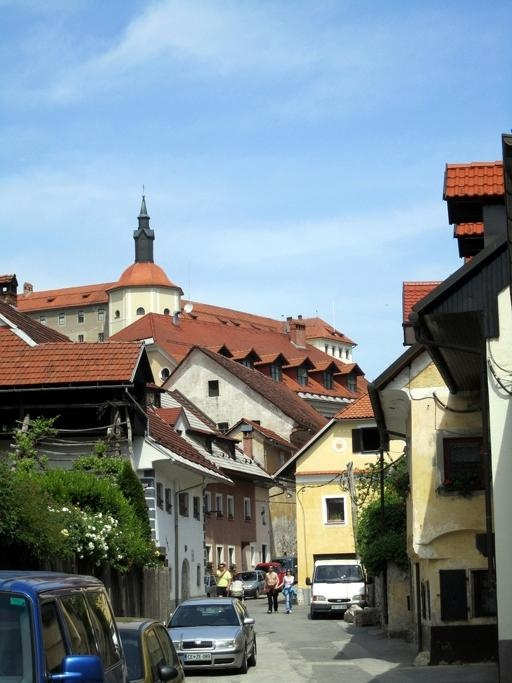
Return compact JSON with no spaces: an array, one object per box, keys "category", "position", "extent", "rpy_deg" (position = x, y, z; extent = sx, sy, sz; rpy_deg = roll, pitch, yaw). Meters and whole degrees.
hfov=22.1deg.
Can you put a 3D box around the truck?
[{"category":"truck","position":[2.239,6.785,36.348],"extent":[1.332,1.329,2.514],"rpy_deg":[-2,-15,3]}]

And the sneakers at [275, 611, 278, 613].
[{"category":"sneakers","position":[0.607,8.083,39.334],"extent":[0.073,0.077,0.130],"rpy_deg":[-6,-17,6]}]

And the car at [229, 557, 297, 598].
[{"category":"car","position":[0.373,9.511,52.466],"extent":[0.995,1.074,3.202],"rpy_deg":[-3,-7,15]}]

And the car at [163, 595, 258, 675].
[{"category":"car","position":[-0.615,4.631,20.840],"extent":[0.880,0.765,2.102],"rpy_deg":[-3,-13,5]}]
